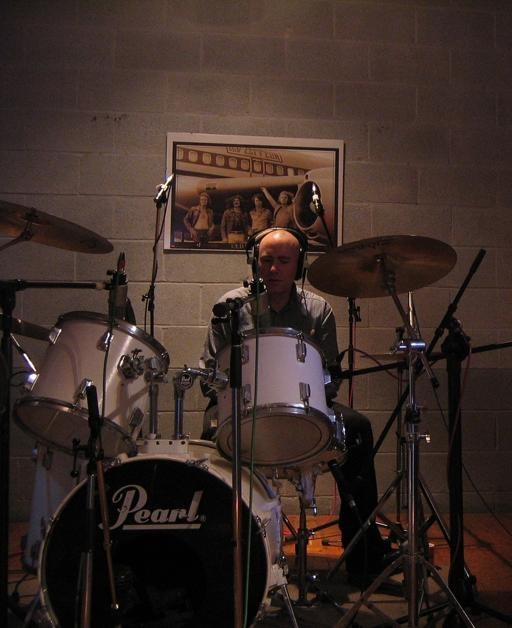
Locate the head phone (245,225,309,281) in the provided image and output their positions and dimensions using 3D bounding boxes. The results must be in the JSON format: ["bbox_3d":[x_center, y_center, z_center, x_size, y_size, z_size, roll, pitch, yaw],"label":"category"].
[{"bbox_3d":[0.086,-0.236,3.976,0.317,0.288,0.119,5,13,-1],"label":"head phone"}]

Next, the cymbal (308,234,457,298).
[{"bbox_3d":[0.447,-0.166,3.653,0.518,0.188,0.624,5,-4,-29],"label":"cymbal"}]

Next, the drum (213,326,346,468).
[{"bbox_3d":[0.108,0.339,3.371,0.432,0.408,0.460,-4,-45,5],"label":"drum"}]

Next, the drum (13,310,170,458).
[{"bbox_3d":[-0.587,0.241,3.340,0.508,0.341,0.351,3,-3,6],"label":"drum"}]

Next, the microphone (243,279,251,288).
[{"bbox_3d":[-0.028,-0.099,3.306,0.025,0.011,0.037,6,-40,8],"label":"microphone"}]
